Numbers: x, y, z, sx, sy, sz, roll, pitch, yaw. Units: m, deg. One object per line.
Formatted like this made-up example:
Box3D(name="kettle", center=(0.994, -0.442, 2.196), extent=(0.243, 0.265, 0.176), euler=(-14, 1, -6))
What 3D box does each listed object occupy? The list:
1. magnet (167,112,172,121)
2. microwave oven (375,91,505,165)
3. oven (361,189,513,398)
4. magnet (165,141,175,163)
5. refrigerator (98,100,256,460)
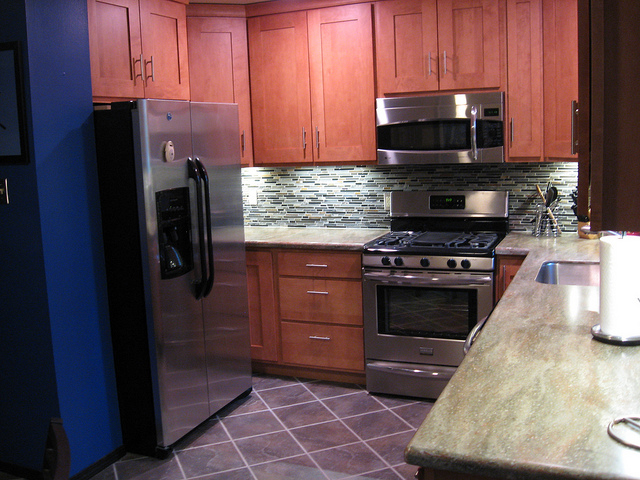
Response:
Box3D(name="magnet", center=(-0.836, -0.685, 2.876), extent=(0.006, 0.041, 0.038), euler=(1, 10, 16))
Box3D(name="microwave oven", center=(0.805, -0.770, 3.562), extent=(0.783, 0.426, 0.488), euler=(2, 8, 21))
Box3D(name="oven", center=(0.848, 0.328, 3.694), extent=(0.907, 1.336, 0.841), euler=(0, 8, 24))
Box3D(name="magnet", center=(-0.836, -0.490, 2.875), extent=(0.018, 0.117, 0.076), euler=(0, 10, 11))
Box3D(name="refrigerator", center=(-0.816, 0.186, 3.157), extent=(0.348, 2.010, 0.874), euler=(5, 12, 36))
